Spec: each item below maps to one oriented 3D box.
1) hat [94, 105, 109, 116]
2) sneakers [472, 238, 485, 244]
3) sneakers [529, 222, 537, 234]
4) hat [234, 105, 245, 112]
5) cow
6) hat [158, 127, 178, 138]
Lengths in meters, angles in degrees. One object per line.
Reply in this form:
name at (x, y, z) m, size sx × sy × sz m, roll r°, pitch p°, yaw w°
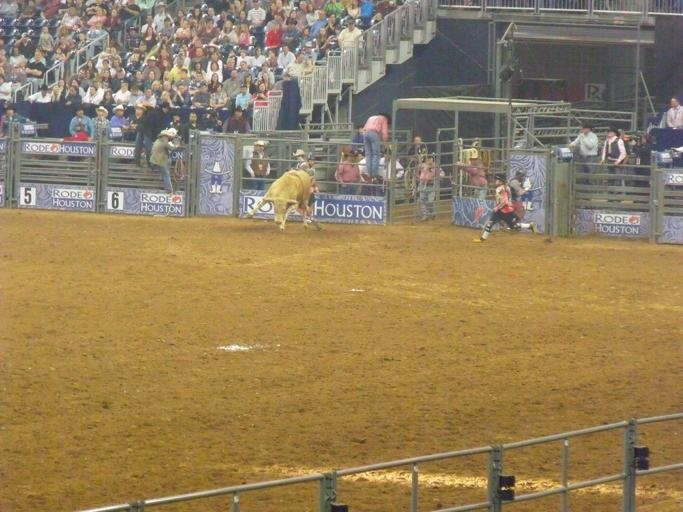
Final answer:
hat at (-7.047, -4.434, 59.956) m, size 0.321 × 0.088 × 0.313 m, roll 14°, pitch -24°, yaw -2°
sneakers at (3.450, -0.503, 52.634) m, size 0.276 × 0.108 × 0.094 m, roll 11°, pitch -22°, yaw 24°
sneakers at (5.024, -0.848, 54.212) m, size 0.173 × 0.267 × 0.492 m, roll -1°, pitch 3°, yaw 6°
hat at (-2.979, -4.314, 58.011) m, size 0.209 × 0.139 × 0.193 m, roll 1°, pitch 8°, yaw 1°
cow at (-1.517, -1.606, 54.223) m, size 1.466 × 1.609 × 2.766 m, roll -1°, pitch 3°, yaw -1°
hat at (-4.868, -3.559, 56.888) m, size 0.500 × 0.265 × 0.529 m, roll -2°, pitch 3°, yaw -5°
